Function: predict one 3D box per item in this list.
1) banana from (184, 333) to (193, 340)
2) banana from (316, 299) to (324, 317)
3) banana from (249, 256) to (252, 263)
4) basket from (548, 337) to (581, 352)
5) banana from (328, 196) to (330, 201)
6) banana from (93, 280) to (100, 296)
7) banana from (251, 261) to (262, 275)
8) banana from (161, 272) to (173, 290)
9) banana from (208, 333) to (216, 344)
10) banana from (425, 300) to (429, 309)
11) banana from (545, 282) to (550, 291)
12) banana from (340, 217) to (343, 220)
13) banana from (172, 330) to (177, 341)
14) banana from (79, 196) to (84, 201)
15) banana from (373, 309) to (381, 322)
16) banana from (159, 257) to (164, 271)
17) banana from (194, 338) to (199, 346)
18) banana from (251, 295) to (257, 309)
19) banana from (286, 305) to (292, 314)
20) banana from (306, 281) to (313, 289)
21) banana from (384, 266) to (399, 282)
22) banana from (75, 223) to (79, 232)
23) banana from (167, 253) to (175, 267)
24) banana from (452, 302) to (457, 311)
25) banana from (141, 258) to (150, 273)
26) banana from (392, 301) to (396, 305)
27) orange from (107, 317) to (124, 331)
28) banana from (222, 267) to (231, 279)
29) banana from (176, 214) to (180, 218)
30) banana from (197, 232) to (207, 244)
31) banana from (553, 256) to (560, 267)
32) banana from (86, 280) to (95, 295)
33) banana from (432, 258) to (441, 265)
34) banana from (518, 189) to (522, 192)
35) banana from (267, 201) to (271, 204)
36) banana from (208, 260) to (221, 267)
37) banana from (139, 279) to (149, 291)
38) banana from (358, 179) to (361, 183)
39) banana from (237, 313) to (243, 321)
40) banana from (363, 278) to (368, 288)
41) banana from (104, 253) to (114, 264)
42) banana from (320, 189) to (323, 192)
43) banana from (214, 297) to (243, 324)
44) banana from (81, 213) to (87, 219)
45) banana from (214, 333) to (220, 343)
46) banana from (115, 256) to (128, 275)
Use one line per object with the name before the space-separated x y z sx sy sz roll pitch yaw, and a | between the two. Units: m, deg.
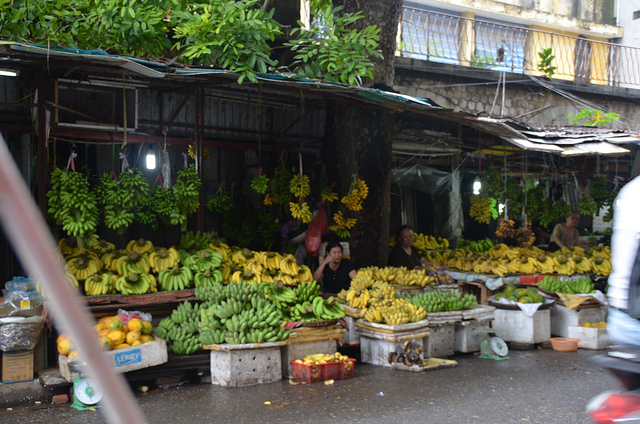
banana | -1.930 1.811 9.968 0.100 0.065 0.029 -46 28 -14
banana | -0.003 1.450 10.395 0.093 0.264 0.057 31 -43 -22
banana | -1.130 0.756 10.960 0.030 0.093 0.043 2 9 42
basket | 4.067 2.189 11.314 0.271 0.121 0.274 -8 -1 -6
banana | 0.157 -0.261 12.384 0.021 0.081 0.016 4 10 -18
banana | -3.292 1.124 9.980 0.043 0.175 0.055 17 -16 -20
banana | -1.048 0.891 10.940 0.272 0.100 0.062 34 -10 11
banana | -2.337 1.015 10.337 0.053 0.317 0.082 1 -27 44
banana | -1.557 1.812 9.787 0.065 0.123 0.039 -32 -10 23
banana | 1.732 1.497 11.032 0.056 0.103 0.076 -9 -15 32
banana | 4.018 1.299 12.022 0.081 0.125 0.097 -2 7 14
banana | 0.387 0.102 12.325 0.048 0.051 0.015 -23 0 1
banana | -2.137 1.791 9.955 0.059 0.110 0.030 -3 -17 28
banana | -3.460 -0.204 9.852 0.061 0.067 0.019 -8 8 -27
banana | 0.883 1.600 10.616 0.040 0.175 0.060 -20 9 37
banana | -2.434 0.801 10.509 0.040 0.197 0.067 5 -20 0
banana | -1.807 1.867 9.913 0.075 0.100 0.080 -12 36 -38
banana | -0.974 1.333 10.014 0.075 0.151 0.052 -21 -5 41
banana | -0.495 1.473 10.375 0.023 0.091 0.066 13 -22 -43
banana | -0.156 1.109 10.471 0.034 0.125 0.035 24 -17 2
banana | 1.256 1.092 12.093 0.218 0.126 0.230 0 5 17
banana | -3.543 0.210 9.882 0.068 0.134 0.034 1 -1 -19
banana | -2.290 0.716 10.514 0.130 0.259 0.060 -33 -31 31
banana | 2.193 1.527 11.133 0.071 0.122 0.044 -5 7 -8
banana | -2.662 0.811 10.383 0.066 0.250 0.066 -23 -9 15
banana | 1.164 1.431 10.726 0.035 0.050 0.049 0 1 -27
orange | -2.867 1.571 9.512 0.160 0.137 0.125 -13 -16 30
banana | -1.497 0.934 10.812 0.126 0.132 0.075 -8 8 -32
banana | -2.226 0.057 10.627 0.040 0.042 0.009 -5 -19 -28
banana | -1.900 0.384 10.993 0.069 0.262 0.053 43 -34 -24
banana | 4.579 0.947 13.197 0.085 0.173 0.047 6 -34 -11
banana | -3.373 1.093 9.974 0.058 0.230 0.077 18 -10 4
banana | 2.417 1.020 14.052 0.146 0.118 0.261 -4 7 1
banana | 4.151 -0.454 14.121 0.097 0.049 0.032 -8 8 -30
banana | -0.909 -0.186 12.001 0.043 0.041 0.011 -1 15 -16
banana | -1.661 0.799 10.686 0.191 0.114 0.099 -6 7 -15
banana | -2.637 1.080 10.172 0.052 0.235 0.062 -34 -10 6
banana | 0.720 -0.590 12.626 0.020 0.087 0.089 0 2 -37
banana | -1.166 1.508 9.836 0.059 0.066 0.020 7 -25 21
banana | 0.769 1.191 11.431 0.062 0.144 0.083 -4 7 1
banana | -3.228 0.702 10.372 0.039 0.184 0.050 29 -31 10
banana | 0.024 -0.413 12.589 0.073 0.051 0.088 -1 -2 1
banana | -1.327 1.452 9.956 0.226 0.128 0.172 -48 -7 29
banana | -3.441 0.057 9.900 0.063 0.074 0.018 -4 7 2
banana | -1.485 1.805 9.775 0.059 0.128 0.044 -6 5 -27
banana | -3.005 0.800 10.299 0.116 0.246 0.178 -2 7 16
